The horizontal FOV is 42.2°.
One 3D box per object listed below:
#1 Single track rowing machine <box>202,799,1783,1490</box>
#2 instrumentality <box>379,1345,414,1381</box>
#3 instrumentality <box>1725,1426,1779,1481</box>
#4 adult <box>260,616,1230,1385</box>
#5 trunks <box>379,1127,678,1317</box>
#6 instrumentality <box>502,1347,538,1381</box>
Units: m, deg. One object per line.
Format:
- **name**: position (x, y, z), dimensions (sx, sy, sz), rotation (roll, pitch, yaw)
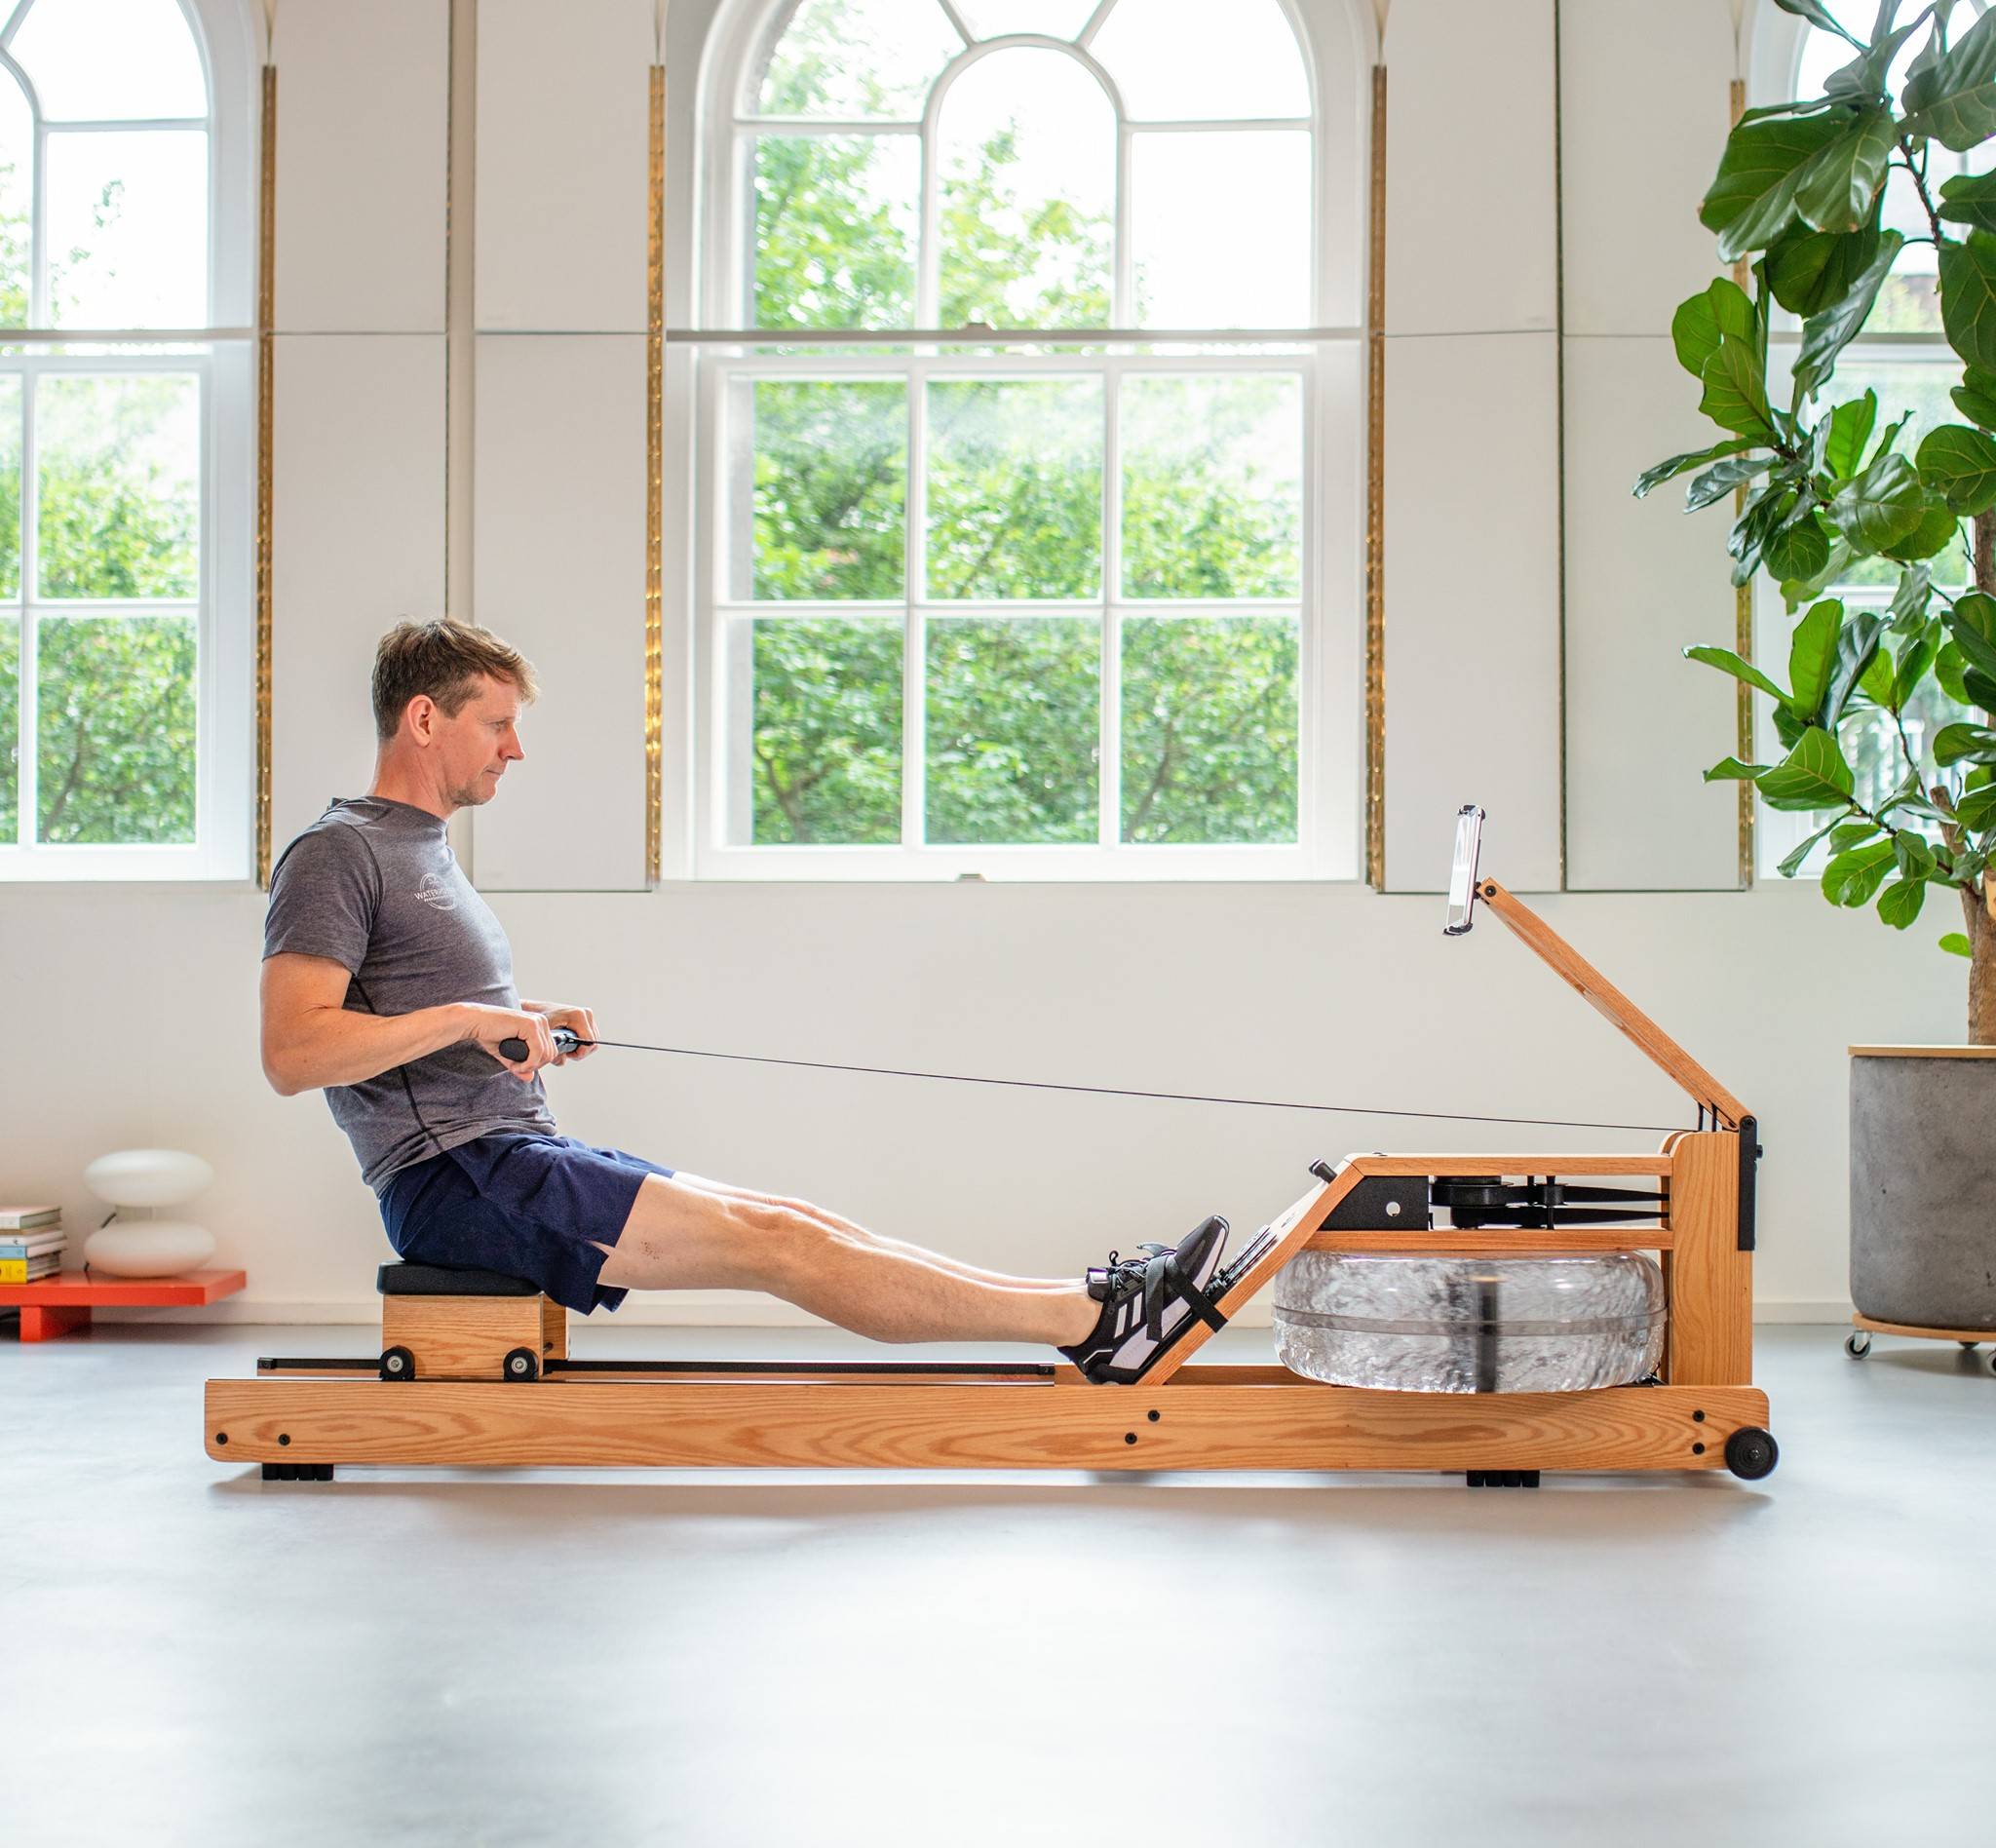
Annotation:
- **Single track rowing machine**: position (-0.278, 0.502, 4.521), dimensions (2.937, 1.015, 0.838), rotation (1, -4, 1)
- **instrumentality**: position (-0.928, 0.679, 4.023), dimensions (0.075, 0.055, 0.021), rotation (-2, -6, -2)
- **instrumentality**: position (1.133, 0.801, 3.944), dimensions (0.080, 0.075, 0.025), rotation (-1, 10, -6)
- **adult**: position (-0.463, 0.152, 4.351), dimensions (1.796, 1.099, 0.692), rotation (10, 2, -29)
- **trunks**: position (-0.685, 0.476, 4.103), dimensions (0.554, 0.227, 0.395), rotation (-4, -18, 42)
- **instrumentality**: position (-0.737, 0.680, 4.009), dimensions (0.054, 0.040, 0.025), rotation (13, -5, -2)
